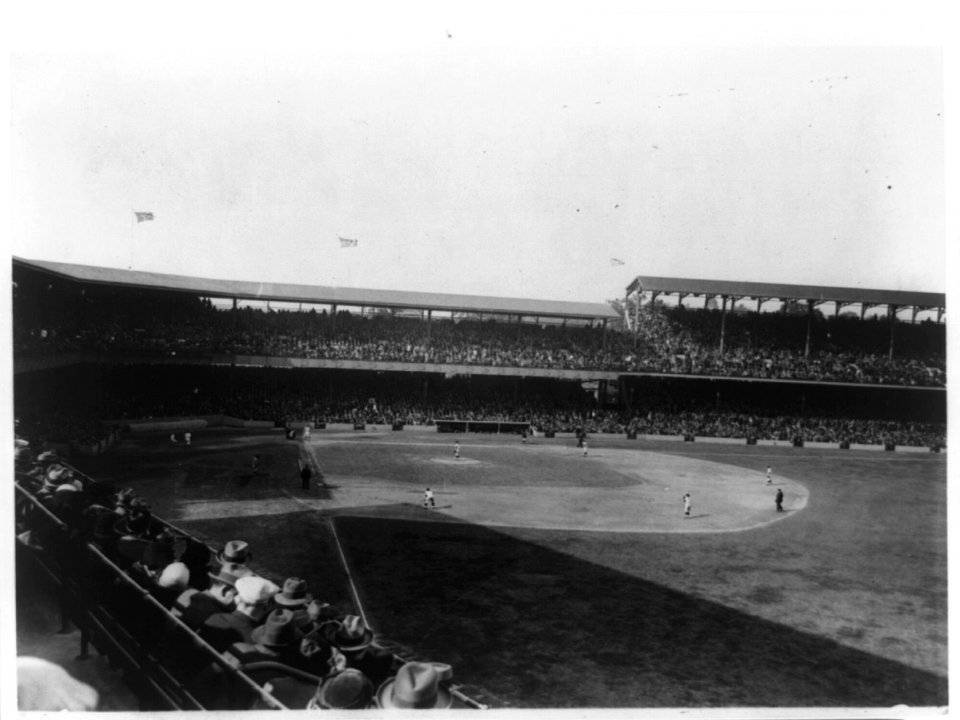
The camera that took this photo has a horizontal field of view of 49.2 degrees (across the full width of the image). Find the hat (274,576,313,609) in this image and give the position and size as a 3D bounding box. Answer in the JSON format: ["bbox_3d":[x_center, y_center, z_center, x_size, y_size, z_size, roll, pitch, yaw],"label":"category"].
[{"bbox_3d":[-3.392,4.269,19.188,0.470,0.283,0.637,2,0,9],"label":"hat"}]

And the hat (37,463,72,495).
[{"bbox_3d":[-8.645,2.419,21.231,0.543,0.390,0.741,6,14,-18],"label":"hat"}]

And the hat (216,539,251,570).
[{"bbox_3d":[-4.609,3.633,19.687,0.433,0.432,0.301,1,1,-22],"label":"hat"}]

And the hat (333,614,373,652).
[{"bbox_3d":[-2.303,4.894,18.863,0.676,0.648,0.428,1,1,-9],"label":"hat"}]

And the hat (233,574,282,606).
[{"bbox_3d":[-4.099,4.128,18.859,0.511,0.187,0.486,13,31,16],"label":"hat"}]
